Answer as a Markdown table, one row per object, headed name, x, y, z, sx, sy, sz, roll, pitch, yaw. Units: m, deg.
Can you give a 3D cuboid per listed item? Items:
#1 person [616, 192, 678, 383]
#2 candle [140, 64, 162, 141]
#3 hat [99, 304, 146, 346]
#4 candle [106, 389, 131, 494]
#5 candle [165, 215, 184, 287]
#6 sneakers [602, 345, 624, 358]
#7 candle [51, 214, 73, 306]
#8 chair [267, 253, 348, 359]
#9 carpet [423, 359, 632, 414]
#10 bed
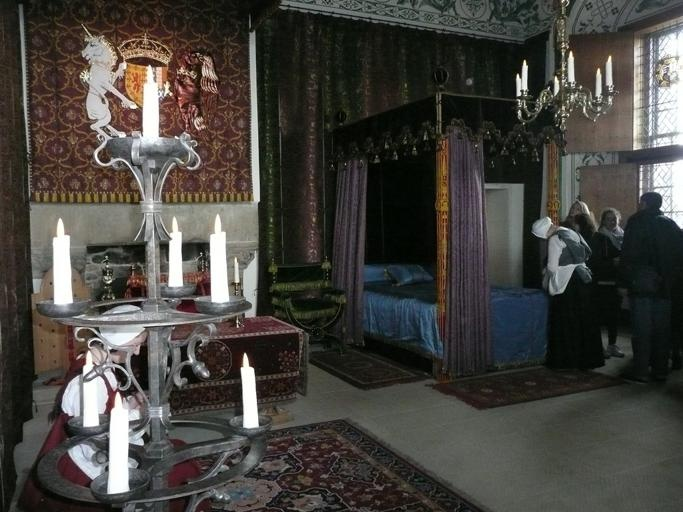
| name | x | y | z | sx | sy | sz | roll | pitch | yaw |
| --- | --- | --- | --- | --- | --- | --- | --- | --- | --- |
| person | 3.465 | 0.355 | 7.211 | 0.599 | 2.053 | 0.792 | 5 | 15 | 23 |
| candle | -0.946 | -0.730 | 3.128 | 0.082 | 0.297 | 0.120 | -5 | 14 | -14 |
| hat | -1.207 | 0.385 | 3.433 | 0.233 | 0.103 | 0.298 | 2 | 12 | -7 |
| candle | -1.074 | 0.888 | 3.031 | 0.120 | 0.422 | 0.268 | -6 | 15 | -18 |
| candle | -0.947 | -0.023 | 3.585 | 0.090 | 0.370 | 0.544 | -5 | 15 | -14 |
| sneakers | 3.505 | 1.245 | 8.205 | 0.269 | 0.160 | 0.138 | 0 | 1 | 6 |
| candle | -1.434 | 0.026 | 3.237 | 0.105 | 0.390 | 0.316 | -7 | 15 | -23 |
| chair | -0.534 | 0.691 | 8.829 | 1.217 | 1.535 | 1.128 | -1 | -1 | -24 |
| carpet | 2.032 | 1.448 | 7.118 | 2.003 | 0.167 | 0.964 | -6 | 15 | -19 |
| bed | 0.950 | -0.516 | 8.080 | 3.120 | 3.534 | 1.899 | 8 | 17 | 33 |
